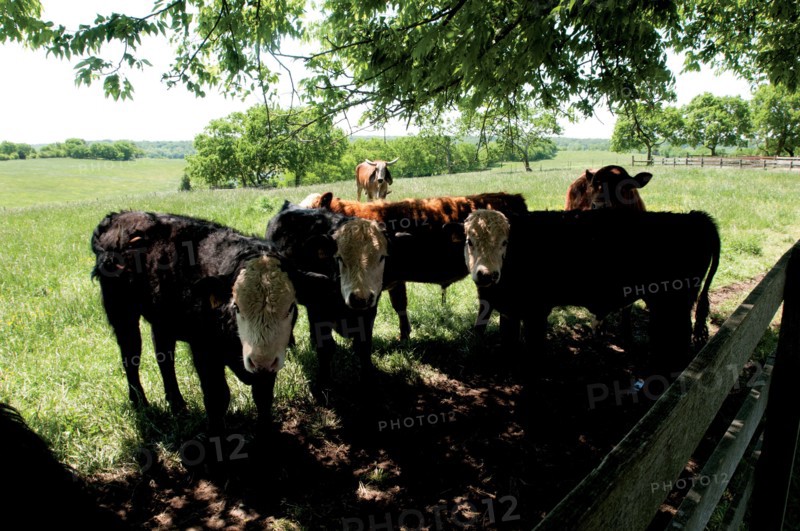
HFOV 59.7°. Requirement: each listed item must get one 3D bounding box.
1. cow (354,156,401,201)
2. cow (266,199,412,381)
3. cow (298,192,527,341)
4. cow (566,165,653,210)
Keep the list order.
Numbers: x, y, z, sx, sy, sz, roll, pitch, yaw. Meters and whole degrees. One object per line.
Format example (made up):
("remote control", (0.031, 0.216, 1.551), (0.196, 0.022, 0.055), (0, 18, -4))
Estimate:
("cow", (-0.738, -2.222, 19.244), (0.798, 1.250, 2.571), (-2, 9, -13))
("cow", (-1.197, 0.396, 12.368), (1.393, 2.963, 4.974), (-2, 9, -20))
("cow", (0.199, 0.017, 11.827), (3.843, 2.294, 1.214), (-2, -4, 4))
("cow", (3.851, -1.426, 13.133), (0.829, 1.110, 2.131), (-3, 8, 4))
